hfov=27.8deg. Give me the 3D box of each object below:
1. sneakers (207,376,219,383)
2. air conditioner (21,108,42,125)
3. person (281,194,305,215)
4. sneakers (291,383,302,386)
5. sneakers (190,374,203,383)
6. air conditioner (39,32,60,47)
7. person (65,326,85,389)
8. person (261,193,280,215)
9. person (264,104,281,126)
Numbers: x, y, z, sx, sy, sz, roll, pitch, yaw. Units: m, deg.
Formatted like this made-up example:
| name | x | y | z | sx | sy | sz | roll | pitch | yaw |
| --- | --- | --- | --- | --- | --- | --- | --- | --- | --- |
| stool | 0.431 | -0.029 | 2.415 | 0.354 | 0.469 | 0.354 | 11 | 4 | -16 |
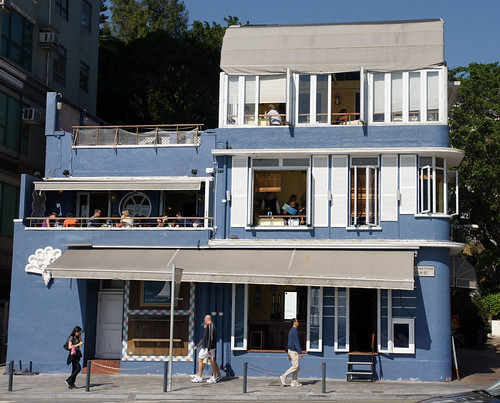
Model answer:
| name | x | y | z | sx | sy | sz | roll | pitch | yaw |
| --- | --- | --- | --- | --- | --- | --- | --- | --- | --- |
| sneakers | -1.479 | 7.437 | 42.405 | 0.540 | 0.263 | 0.211 | -1 | -8 | 6 |
| air conditioner | -11.592 | -4.340 | 53.839 | 0.689 | 0.702 | 1.409 | 0 | -3 | 5 |
| person | 2.012 | 0.090 | 46.570 | 0.576 | 0.523 | 1.423 | 8 | 32 | 6 |
| sneakers | 1.960 | 7.401 | 41.345 | 0.477 | 0.221 | 0.167 | 1 | -2 | -7 |
| sneakers | -2.175 | 7.348 | 42.270 | 0.559 | 0.279 | 0.216 | 1 | -1 | 37 |
| air conditioner | -11.220 | -9.103 | 56.523 | 0.821 | 0.642 | 0.855 | -1 | -2 | 19 |
| person | -7.210 | 6.337 | 41.567 | 0.669 | 2.559 | 1.286 | 2 | -11 | -10 |
| person | 0.970 | 0.091 | 46.085 | 0.885 | 1.018 | 0.548 | -1 | -4 | 8 |
| person | 1.113 | -3.937 | 45.671 | 0.729 | 1.125 | 0.544 | 0 | -11 | 2 |
